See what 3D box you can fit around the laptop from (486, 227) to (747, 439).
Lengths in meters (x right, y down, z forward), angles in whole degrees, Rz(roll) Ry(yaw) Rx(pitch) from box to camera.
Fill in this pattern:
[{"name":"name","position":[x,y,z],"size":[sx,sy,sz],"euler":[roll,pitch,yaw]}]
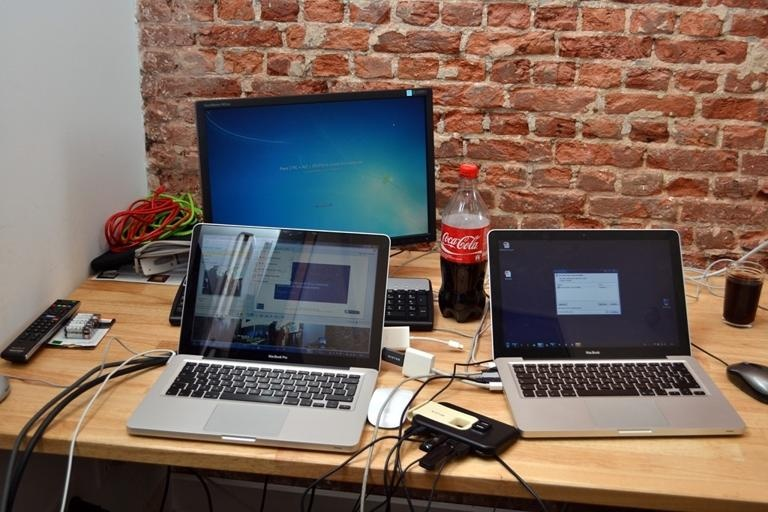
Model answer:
[{"name":"laptop","position":[0.510,0.233,1.511],"size":[0.756,0.312,0.491],"euler":[-1,34,-2]}]

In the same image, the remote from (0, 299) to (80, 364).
[{"name":"remote","position":[-0.897,0.189,1.547],"size":[0.083,0.037,0.203],"euler":[16,32,15]}]

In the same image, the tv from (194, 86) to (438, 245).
[{"name":"tv","position":[-0.192,-0.244,1.742],"size":[0.865,0.433,0.070],"euler":[-13,21,-42]}]
